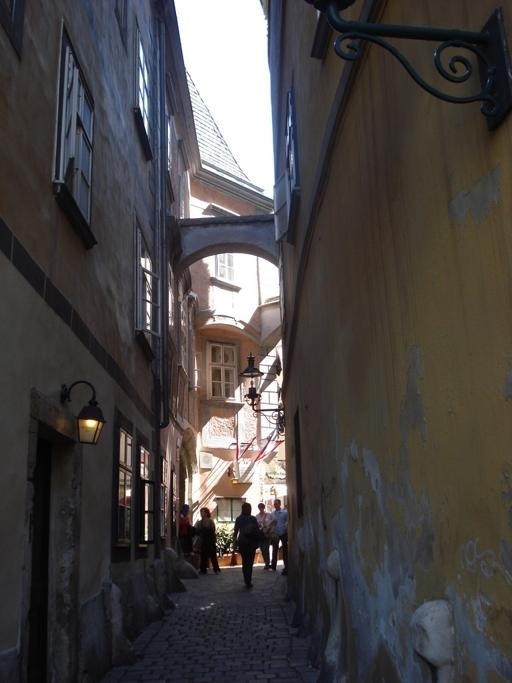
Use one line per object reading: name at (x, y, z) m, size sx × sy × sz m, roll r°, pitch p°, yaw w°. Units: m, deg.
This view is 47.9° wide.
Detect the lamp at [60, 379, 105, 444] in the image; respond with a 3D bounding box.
lamp at (-1.451, 0.613, 4.788) m, size 0.297 × 0.706 × 0.205 m, roll 3°, pitch -44°, yaw -16°

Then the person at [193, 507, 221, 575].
person at (-1.306, 5.311, 15.280) m, size 0.561 × 1.650 × 1.878 m, roll -1°, pitch -18°, yaw -7°

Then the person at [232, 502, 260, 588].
person at (-0.201, 4.278, 12.123) m, size 0.524 × 1.729 × 0.956 m, roll -2°, pitch -14°, yaw -3°
